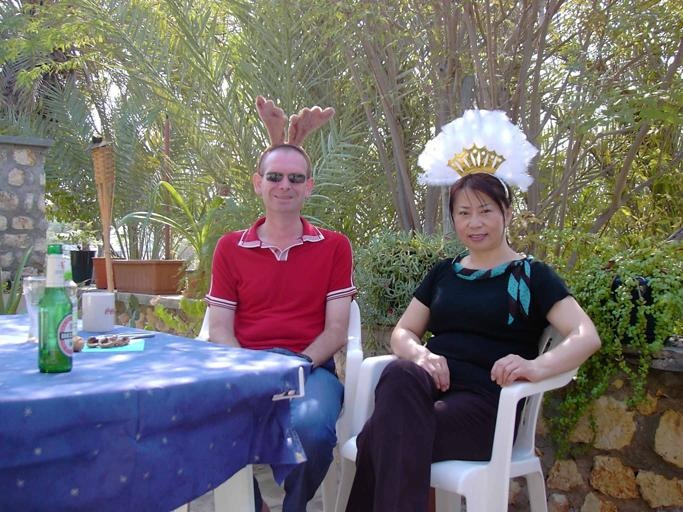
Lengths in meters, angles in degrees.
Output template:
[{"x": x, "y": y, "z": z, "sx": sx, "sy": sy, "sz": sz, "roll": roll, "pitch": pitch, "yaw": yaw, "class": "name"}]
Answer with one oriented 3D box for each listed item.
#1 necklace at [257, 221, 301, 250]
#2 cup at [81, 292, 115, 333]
[{"x": -0.314, "y": -0.116, "z": 2.473, "sx": 0.142, "sy": 0.208, "sz": 0.108, "roll": 2, "pitch": 4, "yaw": -1, "class": "necklace"}, {"x": -1.041, "y": 0.238, "z": 2.043, "sx": 0.155, "sy": 0.170, "sz": 0.125, "roll": 2, "pitch": 2, "yaw": 4, "class": "cup"}]
